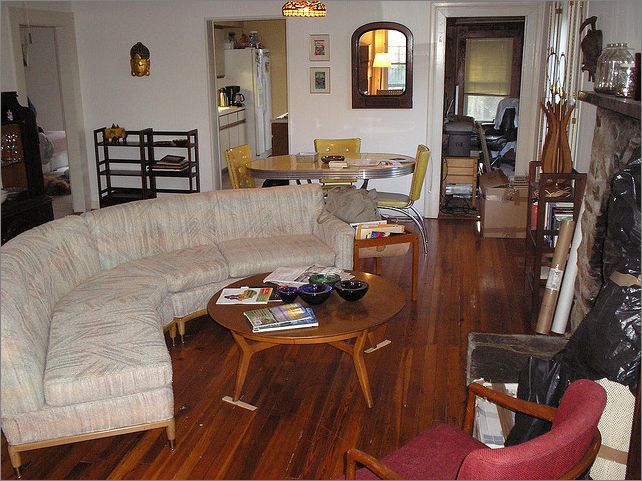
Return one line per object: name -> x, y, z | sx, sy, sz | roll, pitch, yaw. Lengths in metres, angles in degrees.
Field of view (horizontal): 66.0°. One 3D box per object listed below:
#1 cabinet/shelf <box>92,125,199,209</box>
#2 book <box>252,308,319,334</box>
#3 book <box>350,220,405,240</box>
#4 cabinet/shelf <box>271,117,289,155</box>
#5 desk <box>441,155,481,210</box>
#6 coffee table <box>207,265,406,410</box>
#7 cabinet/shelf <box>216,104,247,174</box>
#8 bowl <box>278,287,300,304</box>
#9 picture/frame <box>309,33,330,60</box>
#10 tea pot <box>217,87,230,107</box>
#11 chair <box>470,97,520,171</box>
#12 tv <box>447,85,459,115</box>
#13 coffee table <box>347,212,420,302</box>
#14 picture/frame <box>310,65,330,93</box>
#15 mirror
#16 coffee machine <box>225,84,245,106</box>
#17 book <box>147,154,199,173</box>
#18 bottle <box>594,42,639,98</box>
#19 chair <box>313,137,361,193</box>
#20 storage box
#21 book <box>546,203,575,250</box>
cabinet/shelf -> -2.348, -1.042, 6.658 | 1.260, 1.386, 0.428 | 0, 14, 3
book -> -0.225, 0.482, 3.036 | 0.397, 0.046, 0.253 | -2, 16, -5
book -> 0.516, -0.102, 4.312 | 0.510, 0.148, 0.080 | -7, 16, -20
cabinet/shelf -> -0.784, -1.943, 9.218 | 0.274, 0.677, 0.287 | -4, 16, -11
desk -> 1.951, -0.846, 7.015 | 0.505, 0.712, 0.450 | 2, 16, 10
coffee table -> -0.137, 0.720, 3.485 | 1.255, 0.620, 1.262 | 9, 15, 42
cabinet/shelf -> -1.664, -1.952, 9.526 | 1.003, 1.000, 0.345 | -3, 4, 36
bowl -> -0.223, 0.348, 3.256 | 0.105, 0.080, 0.106 | 2, 9, 0
picture/frame -> -0.022, -2.602, 6.540 | 0.297, 0.382, 0.025 | 2, 11, 4
tea pot -> -1.926, -2.819, 9.660 | 0.115, 0.346, 0.375 | 1, 16, 6
chair -> 3.219, -1.933, 8.887 | 0.758, 1.178, 0.743 | 15, 31, 39
tv -> 2.474, -2.666, 9.297 | 0.236, 0.556, 1.216 | 3, 16, 14
coffee table -> 0.528, 0.115, 4.519 | 0.658, 0.722, 0.641 | 3, 22, 7
picture/frame -> -0.017, -2.194, 6.634 | 0.308, 0.398, 0.024 | 2, 14, 4
mirror -> 0.799, -2.308, 6.495 | 0.826, 1.218, 0.035 | 1, -8, 3
coffee machine -> -1.755, -2.936, 9.972 | 0.432, 0.548, 0.313 | -4, 22, -6
book -> -2.051, -1.094, 6.912 | 0.594, 0.220, 0.478 | 1, 16, 5
bottle -> 1.660, -0.965, 2.770 | 0.133, 0.288, 0.440 | 4, 16, 17
chair -> 0.207, -1.012, 6.398 | 0.639, 0.910, 0.713 | 1, 12, 1
storage box -> 2.350, -0.283, 6.209 | 0.574, 0.738, 0.773 | 6, -14, 11
book -> 1.857, -0.127, 3.820 | 0.183, 0.364, 0.264 | 2, 18, 13
